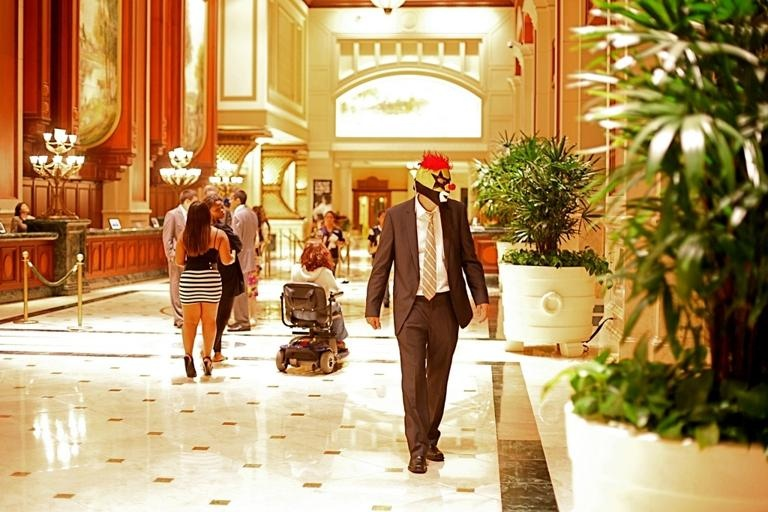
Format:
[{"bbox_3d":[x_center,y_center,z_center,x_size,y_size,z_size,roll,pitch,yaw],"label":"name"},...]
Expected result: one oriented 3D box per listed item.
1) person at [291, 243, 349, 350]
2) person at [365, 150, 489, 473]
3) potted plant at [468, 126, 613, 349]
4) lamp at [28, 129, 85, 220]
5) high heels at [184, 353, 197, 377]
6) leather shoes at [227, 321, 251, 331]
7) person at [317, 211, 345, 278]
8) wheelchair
[{"bbox_3d":[-0.664,0.458,7.056,0.591,1.254,0.925,2,2,-4],"label":"person"},{"bbox_3d":[0.292,0.345,4.420,0.810,2.084,0.395,2,2,-3],"label":"person"},{"bbox_3d":[1.884,-0.153,7.769,1.305,2.472,1.563,-6,2,-15],"label":"potted plant"},{"bbox_3d":[-6.393,-1.630,13.096,0.611,1.165,0.649,-5,-14,-2],"label":"lamp"},{"bbox_3d":[-1.883,1.066,6.486,0.097,0.249,0.102,-2,-2,6],"label":"high heels"},{"bbox_3d":[-1.982,0.973,9.196,0.321,0.143,0.122,5,-5,1],"label":"leather shoes"},{"bbox_3d":[-0.953,-0.125,12.062,0.456,1.282,0.415,-1,21,-11],"label":"person"},{"bbox_3d":[-0.751,0.710,7.053,0.555,0.908,0.873,1,1,11],"label":"wheelchair"}]
